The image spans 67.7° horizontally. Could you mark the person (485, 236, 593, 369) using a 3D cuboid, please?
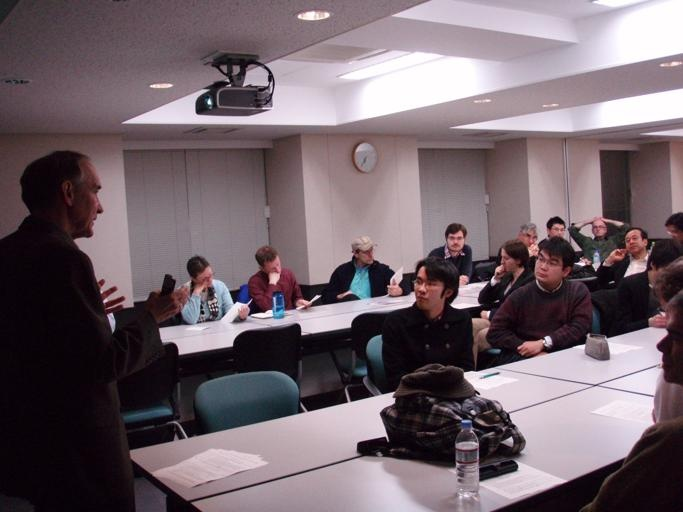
[{"bbox_3d":[1.503,0.420,3.818,0.695,1.109,0.641,3,1,19],"label":"person"}]

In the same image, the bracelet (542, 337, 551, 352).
[{"bbox_3d":[1.483,0.625,3.663,0.060,0.095,0.086,0,-11,20],"label":"bracelet"}]

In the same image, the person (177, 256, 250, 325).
[{"bbox_3d":[-1.285,0.453,5.085,0.674,0.830,0.563,2,27,-1],"label":"person"}]

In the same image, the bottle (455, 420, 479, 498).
[{"bbox_3d":[0.442,0.684,1.788,0.082,0.232,0.241,-2,5,14],"label":"bottle"}]

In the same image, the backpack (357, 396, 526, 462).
[{"bbox_3d":[0.390,0.599,1.989,0.400,0.155,0.324,-6,-8,39],"label":"backpack"}]

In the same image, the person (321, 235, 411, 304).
[{"bbox_3d":[0.278,0.336,6.063,0.924,1.061,0.716,-1,-4,27],"label":"person"}]

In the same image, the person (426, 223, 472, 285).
[{"bbox_3d":[1.423,-0.038,6.620,0.566,0.796,0.550,-8,25,-14],"label":"person"}]

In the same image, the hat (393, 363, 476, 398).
[{"bbox_3d":[0.366,0.489,1.993,0.185,0.066,0.177,-3,-2,22],"label":"hat"}]

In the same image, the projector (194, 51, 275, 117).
[{"bbox_3d":[-0.886,-1.479,4.322,0.597,0.375,0.609,-19,29,-39],"label":"projector"}]

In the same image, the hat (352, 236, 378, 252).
[{"bbox_3d":[0.233,-0.121,5.957,0.237,0.134,0.179,-12,-2,40],"label":"hat"}]

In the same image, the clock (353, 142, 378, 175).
[{"bbox_3d":[0.359,-1.556,8.062,0.497,0.513,0.081,-4,2,-38],"label":"clock"}]
